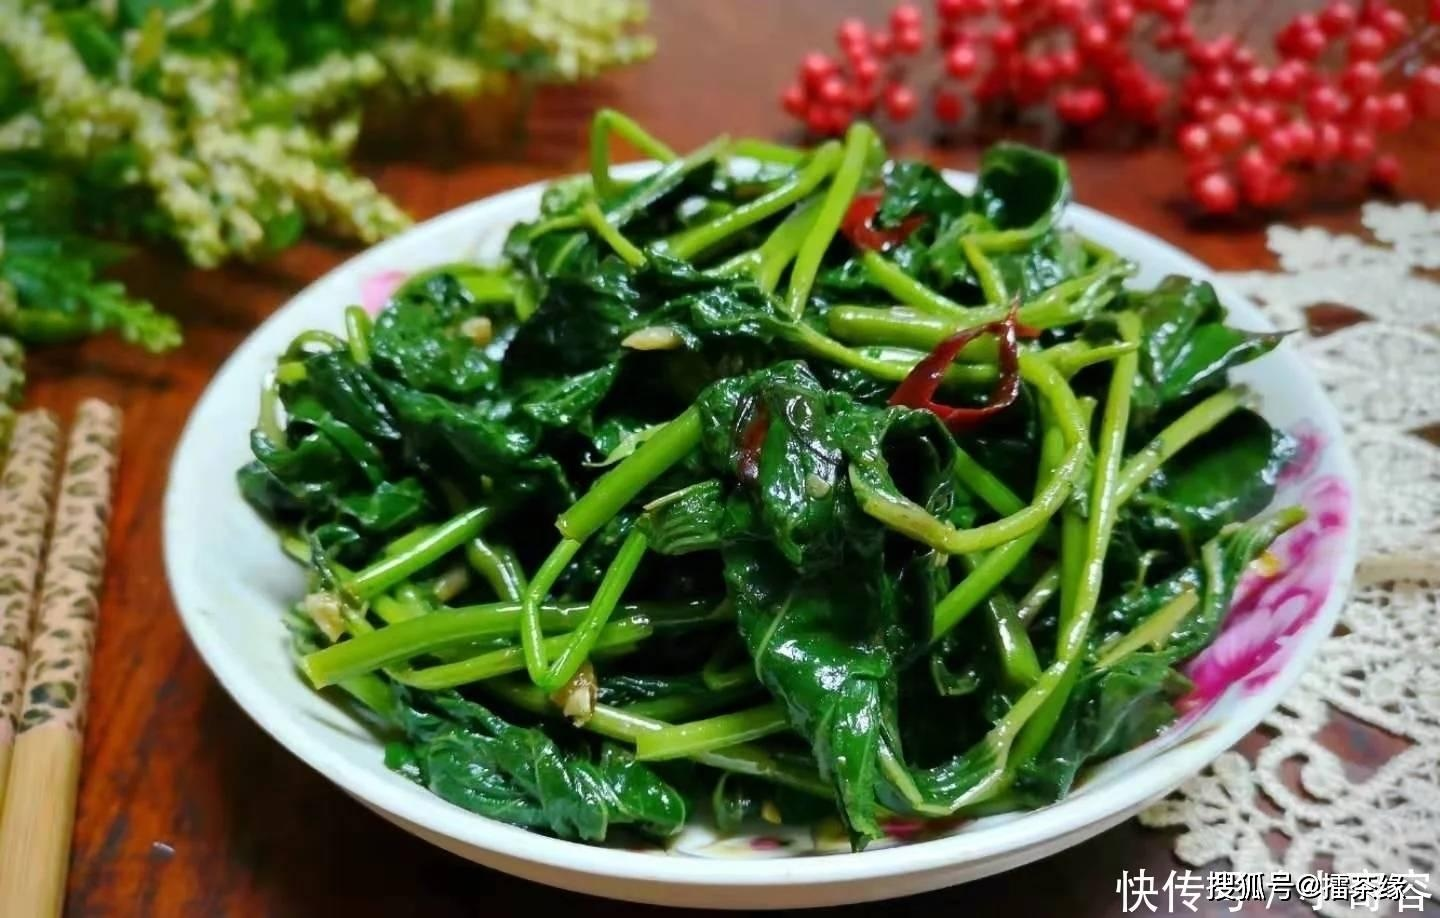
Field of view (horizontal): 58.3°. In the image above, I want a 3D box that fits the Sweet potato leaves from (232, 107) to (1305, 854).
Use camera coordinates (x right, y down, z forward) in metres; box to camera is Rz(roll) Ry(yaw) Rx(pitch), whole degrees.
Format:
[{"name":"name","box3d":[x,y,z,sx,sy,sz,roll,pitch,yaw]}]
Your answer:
[{"name":"Sweet potato leaves","box3d":[0.035,0.085,2.234,1.390,0.726,1.391,14,42,23]}]
